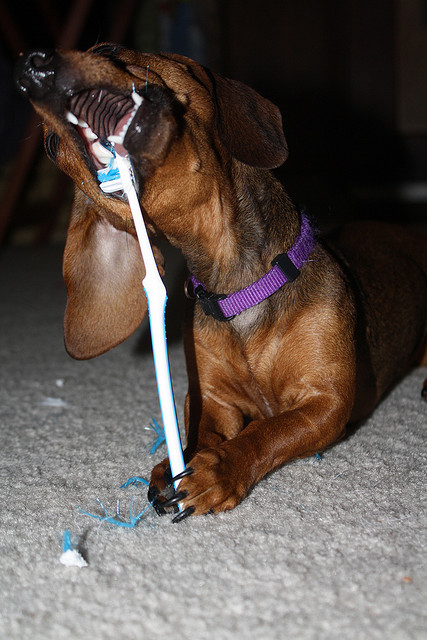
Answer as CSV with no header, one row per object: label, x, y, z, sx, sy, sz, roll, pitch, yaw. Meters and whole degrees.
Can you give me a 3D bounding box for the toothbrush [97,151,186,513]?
toothbrush,-0.172,0.009,1.282,0.092,0.108,0.900,-11,82,-23
